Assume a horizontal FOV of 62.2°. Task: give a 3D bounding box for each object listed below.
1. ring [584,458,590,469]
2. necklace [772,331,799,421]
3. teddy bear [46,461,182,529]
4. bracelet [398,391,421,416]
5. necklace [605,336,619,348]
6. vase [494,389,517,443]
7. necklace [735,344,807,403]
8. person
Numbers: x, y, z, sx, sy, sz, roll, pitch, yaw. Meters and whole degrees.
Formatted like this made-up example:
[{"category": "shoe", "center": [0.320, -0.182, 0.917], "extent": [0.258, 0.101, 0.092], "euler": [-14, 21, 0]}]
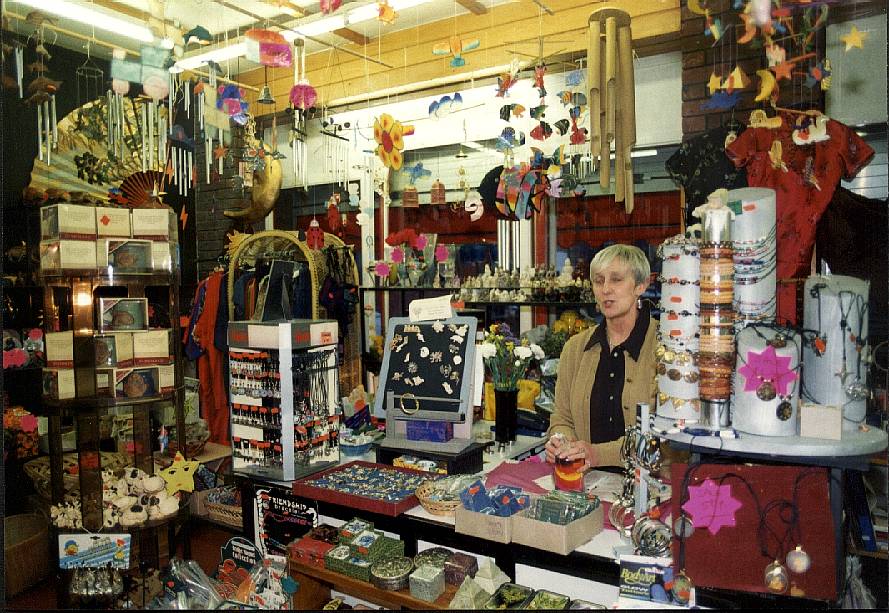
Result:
[{"category": "ring", "center": [0.726, 0.793, 3.737], "extent": [0.038, 0.051, 0.043], "euler": [-5, -2, 23]}, {"category": "necklace", "center": [1.493, 0.303, 3.196], "extent": [0.118, 0.379, 0.046], "euler": [-4, 4, 2]}, {"category": "teddy bear", "center": [-1.937, 1.117, 4.321], "extent": [0.738, 0.234, 0.263], "euler": [-3, 4, 20]}, {"category": "bracelet", "center": [-0.198, 0.533, 4.025], "extent": [0.129, 0.117, 0.042], "euler": [-2, 4, 32]}, {"category": "necklace", "center": [0.997, 0.205, 4.336], "extent": [0.050, 0.072, 0.017], "euler": [-22, -22, 37]}, {"category": "vase", "center": [0.345, 0.617, 4.183], "extent": [0.126, 0.314, 0.088], "euler": [-3, 4, 10]}, {"category": "necklace", "center": [1.407, 0.275, 3.195], "extent": [0.281, 0.218, 0.171], "euler": [9, 12, 40]}, {"category": "person", "center": [0.947, 0.501, 4.278], "extent": [0.831, 1.660, 0.857], "euler": [1, 2, 36]}]
